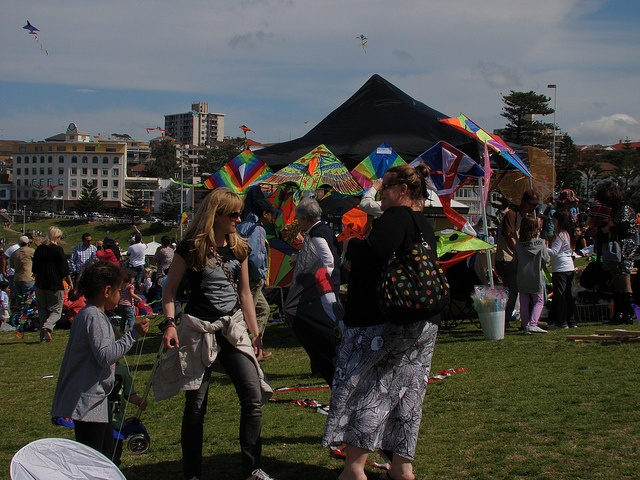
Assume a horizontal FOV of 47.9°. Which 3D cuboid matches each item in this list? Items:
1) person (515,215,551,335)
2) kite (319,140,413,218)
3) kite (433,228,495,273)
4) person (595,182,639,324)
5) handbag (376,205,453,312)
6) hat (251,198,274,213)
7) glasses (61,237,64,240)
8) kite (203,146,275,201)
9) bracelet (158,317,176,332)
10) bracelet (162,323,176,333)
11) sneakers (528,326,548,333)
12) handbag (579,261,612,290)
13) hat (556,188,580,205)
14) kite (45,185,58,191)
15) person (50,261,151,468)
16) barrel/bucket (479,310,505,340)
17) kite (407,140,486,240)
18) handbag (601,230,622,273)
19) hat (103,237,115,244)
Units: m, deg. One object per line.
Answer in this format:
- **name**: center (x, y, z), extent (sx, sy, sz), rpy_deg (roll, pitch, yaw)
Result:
- **person**: center (3.103, 0.521, 10.554), extent (0.467, 1.769, 0.350), rpy_deg (-1, 6, 19)
- **kite**: center (1.092, -0.936, 12.246), extent (1.339, 1.582, 0.936), rpy_deg (2, -10, 36)
- **kite**: center (2.158, 0.071, 10.854), extent (0.717, 0.296, 0.720), rpy_deg (-4, -8, -7)
- **person**: center (4.365, 0.193, 10.596), extent (0.494, 2.077, 0.432), rpy_deg (1, 7, 39)
- **handbag**: center (0.822, 0.247, 6.040), extent (0.617, 1.082, 0.500), rpy_deg (-3, 2, 23)
- **hat**: center (-0.823, -0.524, 10.873), extent (0.273, 0.163, 0.202), rpy_deg (-5, 5, -28)
- **glasses**: center (-6.107, -0.060, 17.109), extent (0.050, 0.082, 0.078), rpy_deg (33, -8, -22)
- **kite**: center (-1.417, -1.527, 13.173), extent (1.339, 1.309, 0.491), rpy_deg (12, -44, -34)
- **bracelet**: center (-1.343, 0.738, 6.354), extent (0.135, 0.098, 0.110), rpy_deg (-33, -7, 29)
- **bracelet**: center (-1.331, 0.763, 6.315), extent (0.142, 0.090, 0.110), rpy_deg (-3, 6, 9)
- **sneakers**: center (3.210, 1.326, 10.672), extent (0.270, 0.125, 0.110), rpy_deg (1, 4, 6)
- **handbag**: center (4.437, 0.579, 11.655), extent (0.371, 0.476, 0.482), rpy_deg (-1, 1, 8)
- **hat**: center (4.320, -0.758, 12.581), extent (0.302, 0.187, 0.288), rpy_deg (-6, 9, -28)
- **kite**: center (-49.206, -9.682, 132.009), extent (1.758, 1.050, 0.503), rpy_deg (6, -11, 3)
- **person**: center (-1.948, 1.325, 6.404), extent (0.764, 2.275, 0.736), rpy_deg (3, 12, -15)
- **barrel/bucket**: center (2.516, 1.233, 10.519), extent (0.368, 0.370, 0.374), rpy_deg (1, -4, 0)
- **kite**: center (2.109, -0.872, 12.299), extent (1.163, 1.638, 1.544), rpy_deg (-6, 1, 22)
- **handbag**: center (4.255, 0.150, 10.517), extent (0.223, 0.566, 0.558), rpy_deg (0, 4, -4)
- **hat**: center (-4.295, -0.008, 14.696), extent (0.199, 0.159, 0.179), rpy_deg (-25, -13, 40)
